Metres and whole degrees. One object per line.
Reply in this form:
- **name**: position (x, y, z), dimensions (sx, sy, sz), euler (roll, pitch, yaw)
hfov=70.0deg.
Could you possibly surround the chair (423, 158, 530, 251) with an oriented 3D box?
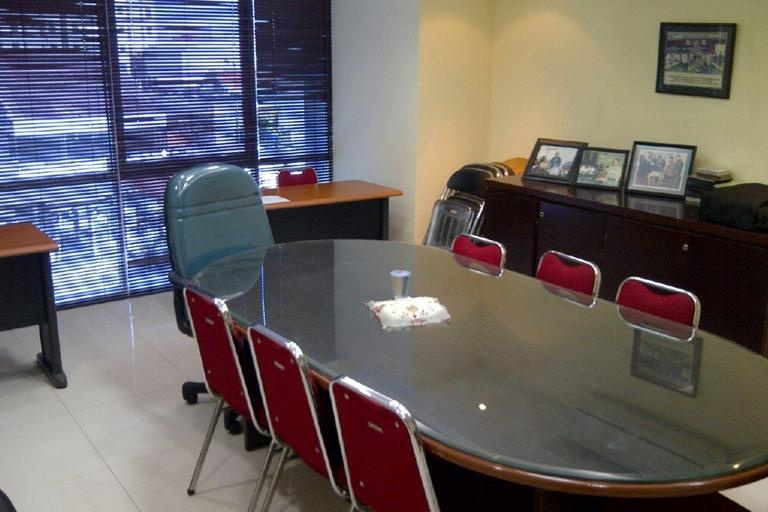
- **chair**: position (0.737, -0.502, 5.222), dimensions (0.721, 1.243, 0.926), euler (11, 14, 42)

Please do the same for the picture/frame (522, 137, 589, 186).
- **picture/frame**: position (1.577, -0.852, 4.970), dimensions (0.512, 0.558, 0.043), euler (6, -8, 29)

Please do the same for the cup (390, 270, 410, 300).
- **cup**: position (0.087, 0.162, 3.029), dimensions (0.096, 0.156, 0.100), euler (1, 21, 0)

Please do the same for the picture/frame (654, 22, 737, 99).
- **picture/frame**: position (2.525, -1.588, 4.395), dimensions (0.050, 0.541, 0.595), euler (-16, 28, -40)

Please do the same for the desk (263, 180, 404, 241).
- **desk**: position (-0.577, -0.412, 5.548), dimensions (1.369, 0.527, 0.615), euler (-9, 24, -27)
